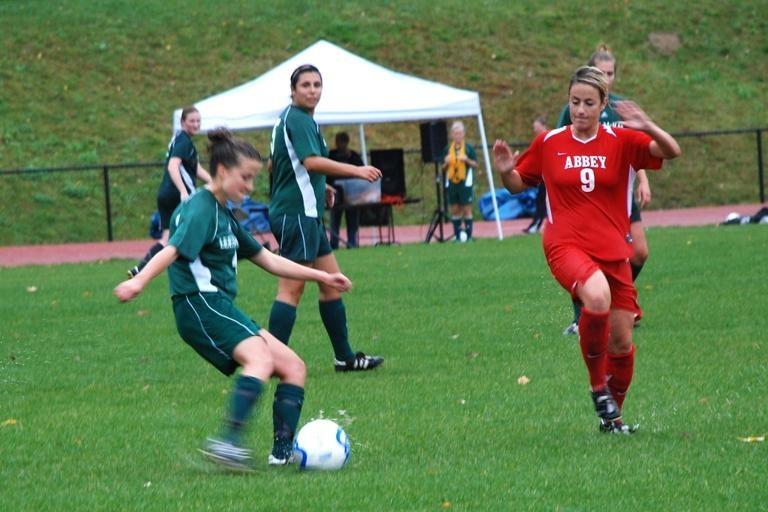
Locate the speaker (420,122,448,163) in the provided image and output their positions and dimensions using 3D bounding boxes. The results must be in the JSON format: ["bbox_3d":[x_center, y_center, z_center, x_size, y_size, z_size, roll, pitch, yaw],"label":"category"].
[{"bbox_3d":[0.929,-2.169,20.343,0.582,0.798,0.536,-9,16,-22],"label":"speaker"}]

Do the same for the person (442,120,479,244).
[{"bbox_3d":[1.451,-1.442,20.430,0.707,2.234,0.671,3,1,17],"label":"person"}]

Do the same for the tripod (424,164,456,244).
[{"bbox_3d":[1.123,-1.037,21.414,0.532,1.578,0.475,1,-1,-30],"label":"tripod"}]

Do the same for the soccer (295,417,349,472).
[{"bbox_3d":[-0.622,1.912,10.798,0.451,0.462,0.485,-38,34,17],"label":"soccer"}]
